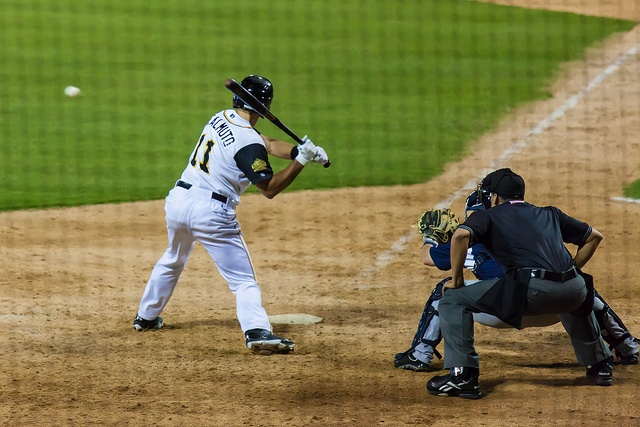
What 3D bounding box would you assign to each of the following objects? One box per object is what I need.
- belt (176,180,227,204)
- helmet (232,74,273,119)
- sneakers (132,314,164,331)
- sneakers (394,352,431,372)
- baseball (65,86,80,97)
[{"bbox_3d":[-1.566,-0.292,16.254,0.515,0.099,0.350,20,-1,12],"label":"belt"},{"bbox_3d":[-0.856,-1.610,16.447,0.483,0.482,0.596,34,35,17],"label":"helmet"},{"bbox_3d":[-2.371,1.498,16.801,0.451,0.176,0.164,-6,17,-28],"label":"sneakers"},{"bbox_3d":[1.195,1.941,15.928,0.493,0.204,0.193,9,10,16],"label":"sneakers"},{"bbox_3d":[-4.498,-2.224,22.172,0.237,0.104,0.215,2,13,2],"label":"baseball"}]
